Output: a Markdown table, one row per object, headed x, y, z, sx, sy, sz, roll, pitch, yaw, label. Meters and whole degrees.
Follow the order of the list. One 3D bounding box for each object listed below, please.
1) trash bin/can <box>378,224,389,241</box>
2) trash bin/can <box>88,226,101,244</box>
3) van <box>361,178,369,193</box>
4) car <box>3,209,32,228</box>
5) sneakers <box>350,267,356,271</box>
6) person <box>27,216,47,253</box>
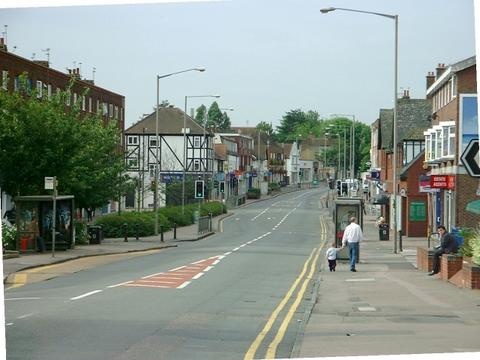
| x | y | z | sx | sy | sz | roll | pitch | yaw | label |
| --- | --- | --- | --- | --- | --- | --- | --- | --- | --- |
| 8.703 | 3.222 | 50.320 | 0.917 | 0.859 | 0.492 | -1 | -3 | 3 | trash bin/can |
| -7.784 | 2.992 | 44.763 | 0.748 | 0.945 | 0.705 | -2 | 6 | -16 | trash bin/can |
| 17.619 | 0.951 | 116.131 | 1.169 | 1.527 | 3.230 | 0 | -4 | 7 | van |
| -10.906 | 1.931 | 40.702 | 1.662 | 0.857 | 0.970 | -4 | 6 | 2 | car |
| 4.652 | 3.715 | 34.098 | 0.208 | 0.148 | 0.271 | 0 | 5 | 3 | sneakers |
| -9.094 | 2.490 | 37.150 | 0.336 | 1.671 | 0.734 | 3 | 7 | 27 | person |
